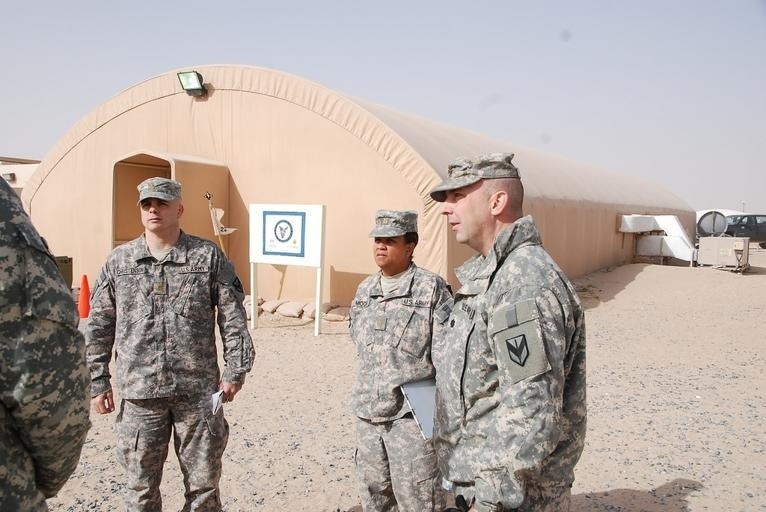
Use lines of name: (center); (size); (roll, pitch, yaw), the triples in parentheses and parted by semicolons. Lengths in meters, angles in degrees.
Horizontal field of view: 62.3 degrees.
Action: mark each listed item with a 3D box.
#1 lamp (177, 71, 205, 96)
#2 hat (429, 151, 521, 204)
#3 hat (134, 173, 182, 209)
lamp: (-3.817, -3.438, 12.881); (0.529, 0.527, 0.461); (4, 11, 19)
hat: (0.561, -0.459, 3.857); (0.420, 0.154, 0.295); (-15, -3, 9)
hat: (-1.676, -0.500, 4.919); (0.242, 0.160, 0.311); (0, 1, 9)
